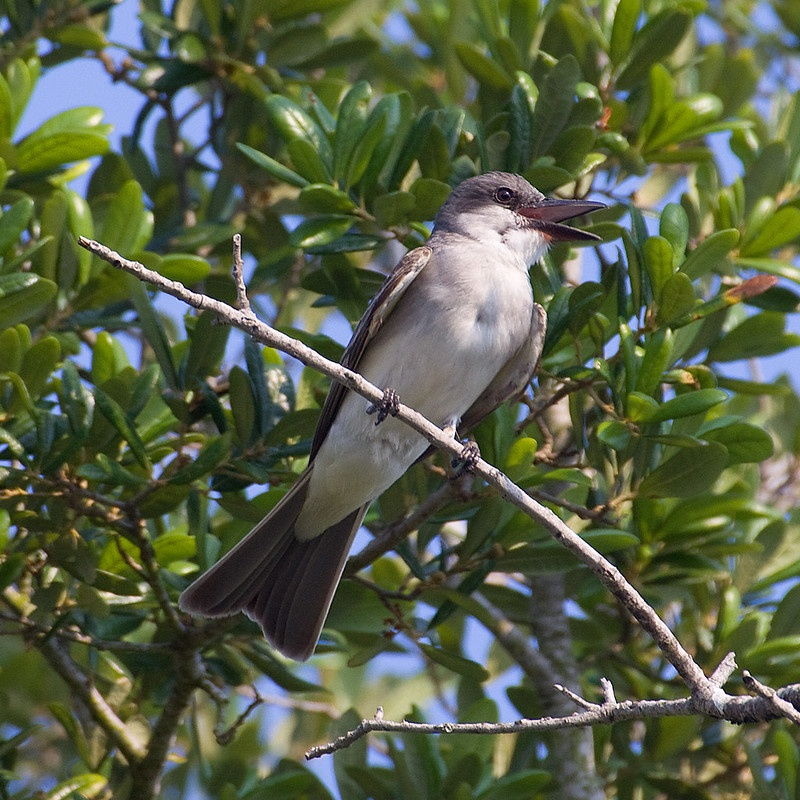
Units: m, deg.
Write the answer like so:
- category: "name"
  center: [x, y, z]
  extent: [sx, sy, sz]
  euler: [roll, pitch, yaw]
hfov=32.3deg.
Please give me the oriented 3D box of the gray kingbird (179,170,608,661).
- category: "gray kingbird"
  center: [0.015, 0.097, 4.817]
  extent: [0.657, 1.871, 0.820]
  euler: [46, 1, -18]
